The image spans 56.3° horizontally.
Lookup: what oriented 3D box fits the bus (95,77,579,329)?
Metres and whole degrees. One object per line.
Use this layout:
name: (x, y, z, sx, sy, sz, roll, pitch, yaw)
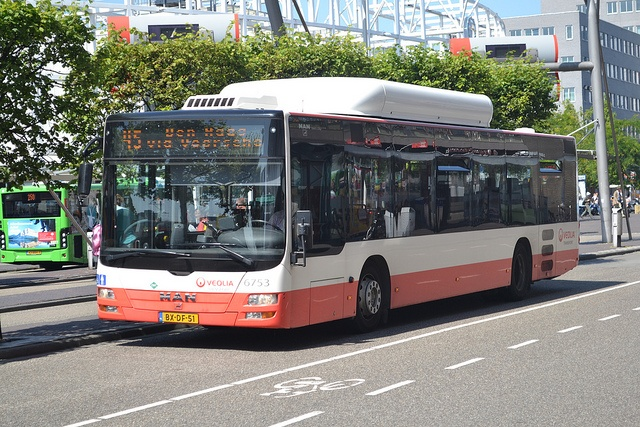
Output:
bus: (1.259, -0.222, 13.076, 3.831, 4.133, 10.964, -1, -3, 40)
